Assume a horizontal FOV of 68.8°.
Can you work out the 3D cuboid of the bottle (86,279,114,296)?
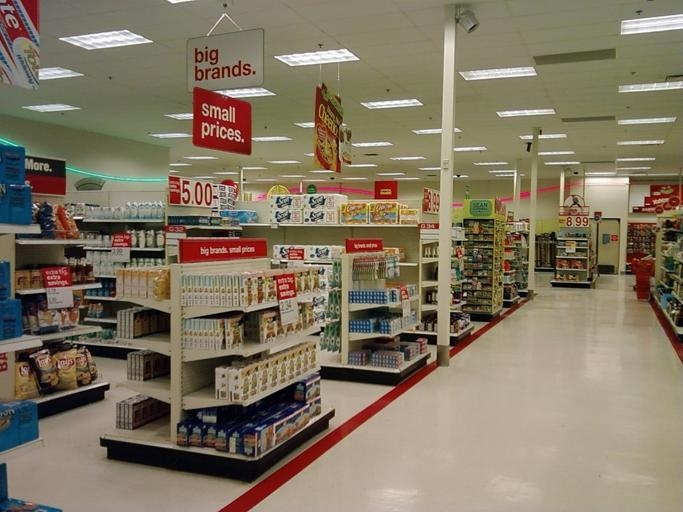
[{"bbox_3d":[-3.958,0.519,8.173,0.372,0.374,0.210,1,2,9],"label":"bottle"}]
